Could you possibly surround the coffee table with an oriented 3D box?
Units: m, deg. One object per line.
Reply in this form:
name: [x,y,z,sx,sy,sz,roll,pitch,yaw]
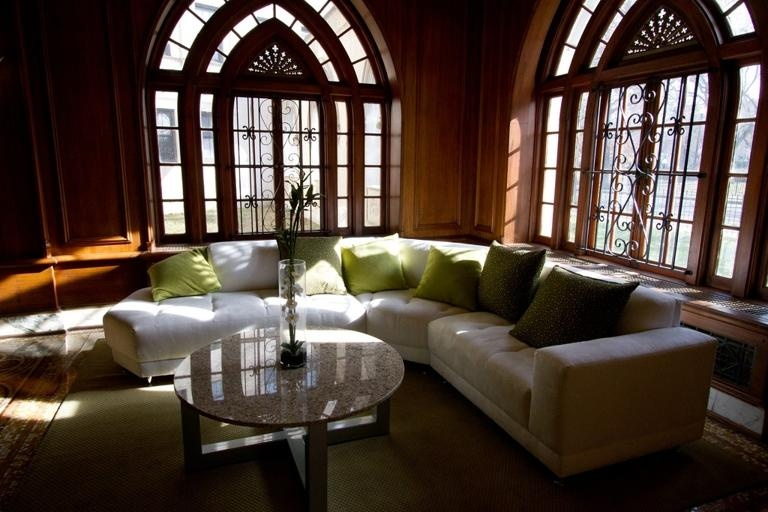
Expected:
coffee table: [-0.639,1.130,3.667,1.563,0.904,1.031,-3,12,0]
